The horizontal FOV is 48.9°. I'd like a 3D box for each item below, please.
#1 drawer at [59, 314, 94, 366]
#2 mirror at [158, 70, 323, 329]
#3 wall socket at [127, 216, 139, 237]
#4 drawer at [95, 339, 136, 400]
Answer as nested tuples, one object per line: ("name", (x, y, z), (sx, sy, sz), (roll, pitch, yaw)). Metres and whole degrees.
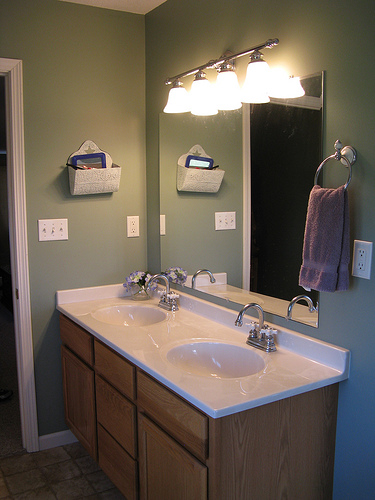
("drawer", (-0.492, 0.422, 1.943), (0.152, 0.120, 0.222), (11, 2, -38))
("mirror", (0.221, -0.145, 1.647), (0.853, 0.922, 0.033), (-6, 12, -27))
("wall socket", (-0.310, -0.133, 2.342), (0.071, 0.117, 0.006), (-6, 7, -32))
("drawer", (-0.232, 0.446, 1.619), (0.145, 0.141, 0.279), (-9, 14, -41))
